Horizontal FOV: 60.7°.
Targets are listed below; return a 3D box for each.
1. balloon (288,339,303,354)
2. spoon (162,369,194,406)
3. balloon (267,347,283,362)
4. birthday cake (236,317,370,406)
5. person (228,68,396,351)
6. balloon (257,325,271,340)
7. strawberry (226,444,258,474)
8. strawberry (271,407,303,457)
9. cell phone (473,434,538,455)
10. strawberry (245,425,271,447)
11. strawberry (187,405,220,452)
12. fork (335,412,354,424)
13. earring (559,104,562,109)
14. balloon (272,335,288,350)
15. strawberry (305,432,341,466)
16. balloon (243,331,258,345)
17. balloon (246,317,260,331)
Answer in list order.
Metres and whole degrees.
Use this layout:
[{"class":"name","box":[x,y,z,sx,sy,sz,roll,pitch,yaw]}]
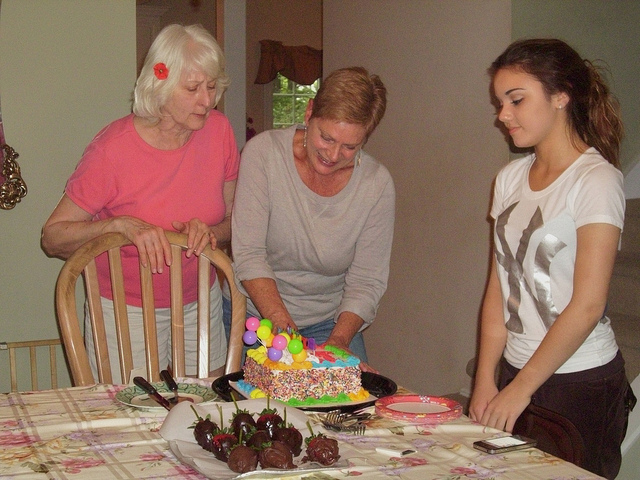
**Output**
[{"class":"balloon","box":[-0.068,0.292,1.483,0.035,0.040,0.045,7,11,35]},{"class":"spoon","box":[-0.379,0.383,1.434,0.049,0.018,0.142,-10,37,-26]},{"class":"balloon","box":[-0.124,0.311,1.474,0.031,0.036,0.041,-6,-20,-12]},{"class":"birthday cake","box":[-0.054,0.340,1.600,0.336,0.242,0.370,-1,-1,-11]},{"class":"person","box":[-0.012,-0.067,1.962,0.644,1.062,0.557,-1,9,-9]},{"class":"balloon","box":[-0.158,0.257,1.512,0.031,0.041,0.034,18,34,11]},{"class":"strawberry","box":[-0.150,0.429,1.057,0.058,0.047,0.037,-1,9,-9]},{"class":"strawberry","box":[-0.072,0.402,1.141,0.055,0.108,0.066,-15,-25,26]},{"class":"cell phone","box":[0.406,0.454,1.214,0.137,0.018,0.068,-3,10,-20]},{"class":"strawberry","box":[-0.128,0.390,1.110,0.035,0.032,0.036,27,21,30]},{"class":"strawberry","box":[-0.243,0.412,1.190,0.058,0.102,0.050,-40,-27,31]},{"class":"fork","box":[0.054,0.438,1.334,0.026,0.015,0.016,-5,1,-13]},{"class":"earring","box":[0.785,-0.435,1.776,0.010,0.012,0.004,-2,9,-16]},{"class":"balloon","box":[-0.110,0.277,1.468,0.032,0.036,0.040,-18,-9,-6]},{"class":"strawberry","box":[0.004,0.428,1.101,0.062,0.044,0.031,1,9,1]},{"class":"balloon","box":[-0.197,0.272,1.516,0.032,0.036,0.038,29,24,24]},{"class":"balloon","box":[-0.189,0.237,1.546,0.031,0.036,0.039,15,-6,8]}]
